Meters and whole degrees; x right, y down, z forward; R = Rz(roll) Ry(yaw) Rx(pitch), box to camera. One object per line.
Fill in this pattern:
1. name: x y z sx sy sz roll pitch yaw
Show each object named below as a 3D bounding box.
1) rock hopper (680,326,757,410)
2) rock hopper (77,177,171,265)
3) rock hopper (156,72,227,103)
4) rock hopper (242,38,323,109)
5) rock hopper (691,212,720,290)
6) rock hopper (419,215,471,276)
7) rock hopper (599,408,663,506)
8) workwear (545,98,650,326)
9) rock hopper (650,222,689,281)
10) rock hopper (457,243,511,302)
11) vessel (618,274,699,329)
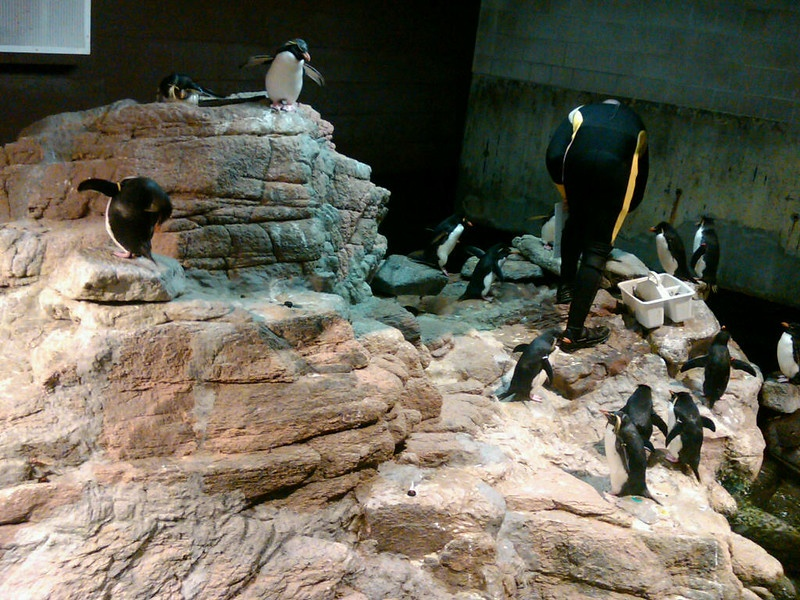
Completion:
1. rock hopper: 2.764 0.614 6.242 0.497 0.452 0.420 21 46 22
2. rock hopper: -1.669 -0.507 4.468 0.631 0.514 0.579 4 21 -26
3. rock hopper: -1.704 -1.719 5.925 0.482 0.168 0.314 4 13 -21
4. rock hopper: -0.908 -1.795 5.711 0.295 0.544 0.265 -3 16 -29
5. rock hopper: 3.155 -0.467 7.327 0.292 0.733 0.499 11 15 21
6. rock hopper: 0.570 -0.698 8.305 0.687 0.622 0.771 6 11 -18
7. rock hopper: 1.596 1.101 4.944 0.478 0.541 0.302 16 18 38
8. workwear: 1.597 -0.719 6.087 0.534 1.902 0.653 -5 17 -36
9. rock hopper: 2.734 -0.505 7.255 0.359 0.546 0.407 -3 16 -29
10. rock hopper: 0.889 -0.304 7.416 0.571 0.435 0.539 -10 23 -13
11. vessel: 2.349 -0.016 6.527 0.509 0.379 0.596 -6 13 -17
